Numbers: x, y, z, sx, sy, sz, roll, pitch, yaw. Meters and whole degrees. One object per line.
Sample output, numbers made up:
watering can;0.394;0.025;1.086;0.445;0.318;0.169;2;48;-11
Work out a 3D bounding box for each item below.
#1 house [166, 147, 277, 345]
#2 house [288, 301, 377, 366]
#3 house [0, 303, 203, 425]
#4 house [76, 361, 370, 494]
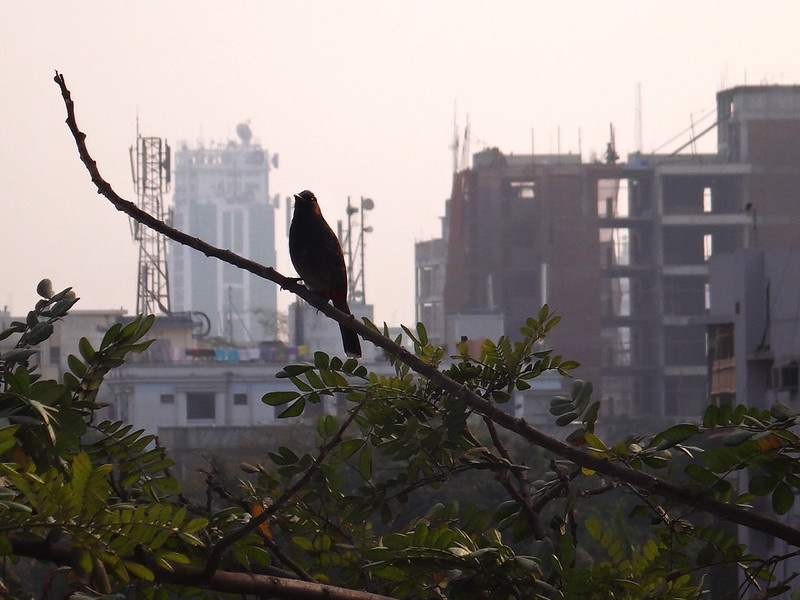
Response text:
house;-19.917;-5.937;270.994;11.218;21.579;40.121;0;6;-4
house;-4.961;2.442;166.451;4.908;4.960;2.776;0;0;-7
house;-20.074;4.880;164.707;8.957;6.338;4.923;0;-4;-5
house;-14.616;8.529;182.533;14.553;7.927;10.980;0;-3;-9
